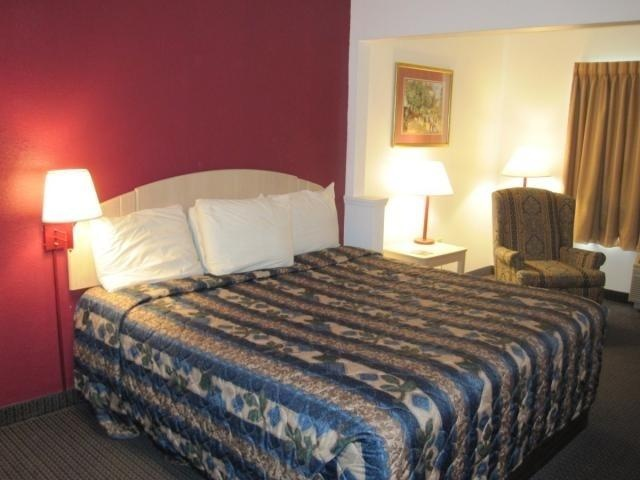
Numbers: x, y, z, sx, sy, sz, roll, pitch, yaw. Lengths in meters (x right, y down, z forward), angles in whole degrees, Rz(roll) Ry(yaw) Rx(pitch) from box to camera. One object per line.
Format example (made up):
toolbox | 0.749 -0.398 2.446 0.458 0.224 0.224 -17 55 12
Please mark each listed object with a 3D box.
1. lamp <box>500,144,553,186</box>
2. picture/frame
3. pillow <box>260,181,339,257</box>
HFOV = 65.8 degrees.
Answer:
lamp | 2.461 -0.871 6.022 0.526 0.558 0.524 -4 10 -24
picture/frame | 1.080 -1.506 5.367 0.938 0.839 0.067 -10 22 -41
pillow | -0.182 -0.155 4.171 0.596 0.468 0.177 -12 -11 -41
